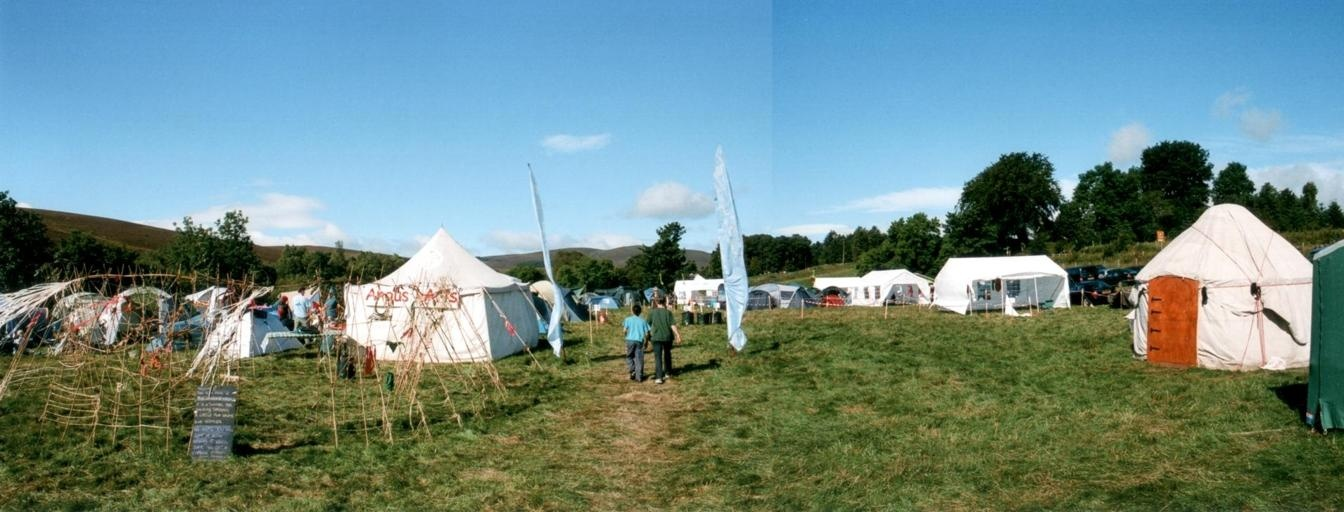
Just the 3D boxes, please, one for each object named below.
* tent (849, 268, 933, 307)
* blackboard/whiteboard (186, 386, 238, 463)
[{"bbox_3d":[22.588,3.130,76.046,5.739,2.059,4.852,-1,-1,-15],"label":"tent"},{"bbox_3d":[-23.723,8.599,39.114,2.467,3.848,0.557,-6,-6,8],"label":"blackboard/whiteboard"}]
